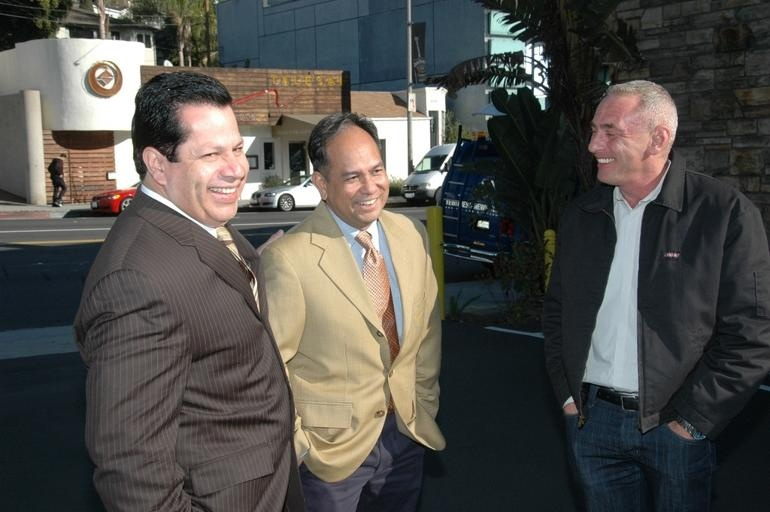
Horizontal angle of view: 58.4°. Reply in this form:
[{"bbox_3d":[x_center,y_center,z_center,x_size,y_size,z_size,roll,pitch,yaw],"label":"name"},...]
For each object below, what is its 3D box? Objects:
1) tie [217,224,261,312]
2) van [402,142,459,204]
[{"bbox_3d":[-0.821,-0.086,3.764,0.107,0.132,0.931,28,26,-38],"label":"tie"},{"bbox_3d":[1.870,-3.604,30.129,1.650,2.445,3.926,0,2,32],"label":"van"}]
